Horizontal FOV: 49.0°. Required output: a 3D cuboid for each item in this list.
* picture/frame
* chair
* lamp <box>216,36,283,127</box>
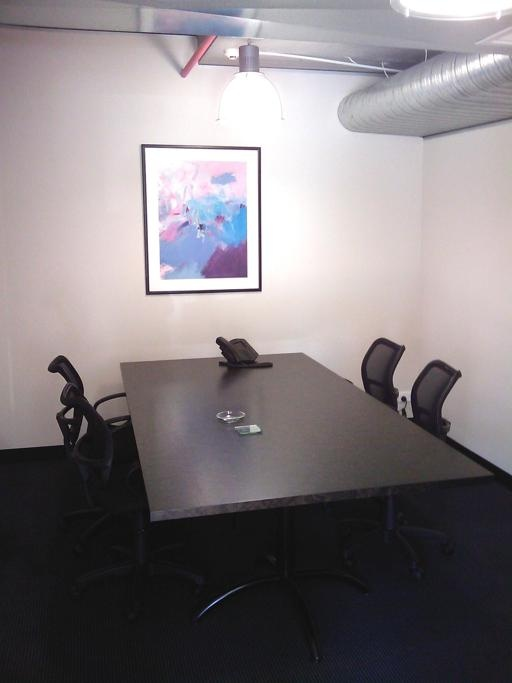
[{"bbox_3d":[-0.474,-1.033,4.502,1.156,1.382,0.063,-4,14,-11],"label":"picture/frame"},{"bbox_3d":[0.014,0.638,2.855,1.771,0.992,2.254,-5,9,-30],"label":"chair"},{"bbox_3d":[-0.032,-1.342,2.953,0.354,0.386,0.368,3,13,15],"label":"lamp"}]
